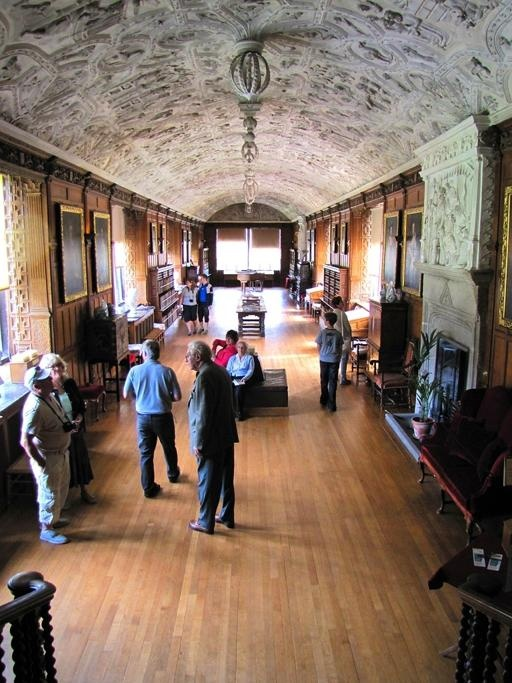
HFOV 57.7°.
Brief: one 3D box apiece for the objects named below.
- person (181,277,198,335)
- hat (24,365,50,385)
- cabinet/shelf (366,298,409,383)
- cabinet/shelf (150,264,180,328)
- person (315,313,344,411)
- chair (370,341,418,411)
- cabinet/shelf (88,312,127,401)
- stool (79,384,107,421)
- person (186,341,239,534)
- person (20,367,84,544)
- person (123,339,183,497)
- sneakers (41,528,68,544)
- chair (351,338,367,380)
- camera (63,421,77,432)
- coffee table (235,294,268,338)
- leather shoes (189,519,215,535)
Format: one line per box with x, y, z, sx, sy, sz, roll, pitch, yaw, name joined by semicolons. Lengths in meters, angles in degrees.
-2.049;-1.062;14.404;0.431;1.696;1.110;-1;6;-7;person
-1.789;0.274;3.795;0.211;0.095;0.130;-27;15;35;hat
2.356;-0.035;8.218;0.671;1.816;1.361;0;9;2;cabinet/shelf
-3.032;-1.476;15.289;0.507;1.494;2.531;-3;13;1;cabinet/shelf
1.194;0.330;7.669;0.397;1.649;0.825;0;6;7;person
2.261;0.524;7.769;0.688;1.103;0.765;-2;7;-1;chair
-2.689;0.242;8.516;0.506;1.323;1.409;-2;6;-9;cabinet/shelf
-2.414;0.898;6.824;0.616;0.470;0.429;-1;6;-25;stool
-0.362;0.842;3.919;0.404;1.696;0.564;-1;6;-8;person
-1.758;0.888;3.856;0.309;1.356;0.568;0;6;4;person
-1.062;0.790;4.711;0.536;1.610;0.626;-2;6;-16;person
-1.727;1.664;3.945;0.187;0.072;0.116;5;8;9;sneakers
2.228;0.365;9.988;0.297;0.591;0.816;1;6;2;chair
-1.612;0.724;3.984;0.094;0.045;0.129;0;-12;-20;camera
-0.167;-0.817;14.470;0.806;1.250;2.098;-1;5;-1;coffee table
-0.485;1.637;4.126;0.230;0.094;0.092;11;3;26;leather shoes
